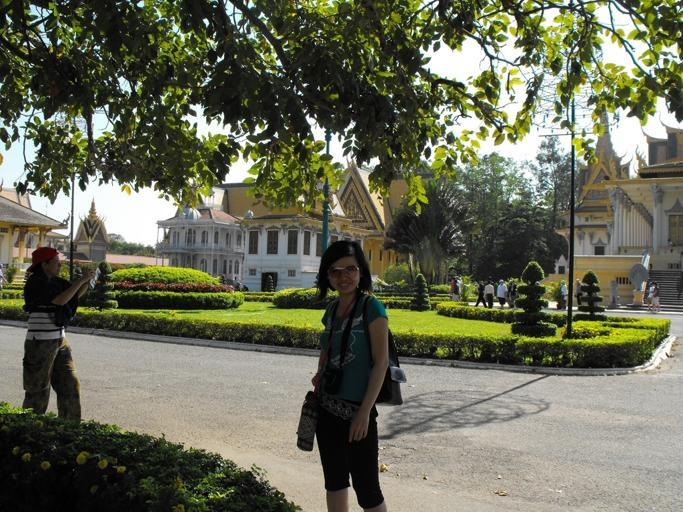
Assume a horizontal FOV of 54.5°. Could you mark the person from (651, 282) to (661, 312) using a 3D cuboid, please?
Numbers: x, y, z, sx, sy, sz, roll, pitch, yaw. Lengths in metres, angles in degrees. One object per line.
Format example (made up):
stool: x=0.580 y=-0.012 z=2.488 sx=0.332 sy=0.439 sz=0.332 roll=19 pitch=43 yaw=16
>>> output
person: x=15.729 y=2.086 z=33.431 sx=0.327 sy=1.166 sz=1.338 roll=2 pitch=1 yaw=25

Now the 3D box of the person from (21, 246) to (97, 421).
person: x=-3.470 y=0.956 z=8.016 sx=0.867 sy=2.113 sz=0.789 roll=2 pitch=1 yaw=41

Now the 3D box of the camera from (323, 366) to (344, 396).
camera: x=-0.079 y=1.066 z=5.638 sx=0.073 sy=0.220 sz=0.155 roll=13 pitch=-21 yaw=-43

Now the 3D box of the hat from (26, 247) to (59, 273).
hat: x=-3.617 y=0.016 z=8.037 sx=0.360 sy=0.205 sz=0.261 roll=-27 pitch=10 yaw=-13

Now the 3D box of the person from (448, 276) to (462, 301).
person: x=7.421 y=2.197 z=42.973 sx=0.659 sy=1.283 sz=2.473 roll=1 pitch=0 yaw=12

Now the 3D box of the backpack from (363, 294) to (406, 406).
backpack: x=0.380 y=0.862 z=5.846 sx=0.358 sy=1.029 sz=0.621 roll=1 pitch=1 yaw=6
